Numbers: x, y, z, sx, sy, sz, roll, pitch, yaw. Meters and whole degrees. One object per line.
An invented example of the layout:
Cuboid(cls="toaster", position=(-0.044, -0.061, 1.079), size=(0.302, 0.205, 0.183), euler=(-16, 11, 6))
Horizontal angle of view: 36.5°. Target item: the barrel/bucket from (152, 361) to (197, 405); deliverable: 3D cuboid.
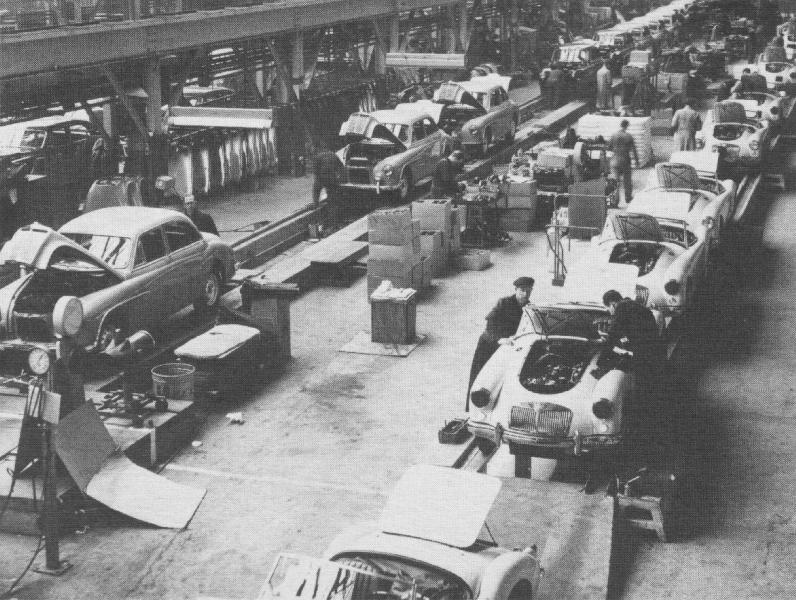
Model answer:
Cuboid(cls="barrel/bucket", position=(-2.901, 1.011, 15.546), size=(0.529, 0.432, 0.566), euler=(3, 19, -1))

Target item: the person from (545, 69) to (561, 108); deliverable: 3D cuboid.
Cuboid(cls="person", position=(4.993, -6.840, 38.625), size=(0.648, 1.154, 0.439), euler=(3, 32, 23))

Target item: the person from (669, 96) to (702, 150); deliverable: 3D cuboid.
Cuboid(cls="person", position=(6.735, -3.984, 28.064), size=(0.557, 1.657, 0.552), euler=(0, 37, 9))

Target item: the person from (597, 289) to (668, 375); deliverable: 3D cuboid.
Cuboid(cls="person", position=(2.904, 0.532, 14.835), size=(0.732, 0.920, 1.132), euler=(1, 22, 13))
